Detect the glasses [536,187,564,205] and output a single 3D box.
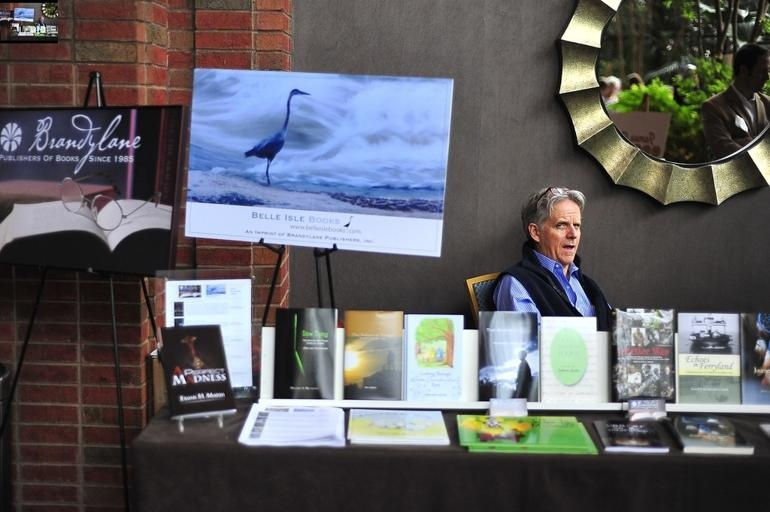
[{"bbox_3d":[0.897,-0.345,5.184,0.103,0.032,0.103,-3,-26,-13],"label":"glasses"}]
